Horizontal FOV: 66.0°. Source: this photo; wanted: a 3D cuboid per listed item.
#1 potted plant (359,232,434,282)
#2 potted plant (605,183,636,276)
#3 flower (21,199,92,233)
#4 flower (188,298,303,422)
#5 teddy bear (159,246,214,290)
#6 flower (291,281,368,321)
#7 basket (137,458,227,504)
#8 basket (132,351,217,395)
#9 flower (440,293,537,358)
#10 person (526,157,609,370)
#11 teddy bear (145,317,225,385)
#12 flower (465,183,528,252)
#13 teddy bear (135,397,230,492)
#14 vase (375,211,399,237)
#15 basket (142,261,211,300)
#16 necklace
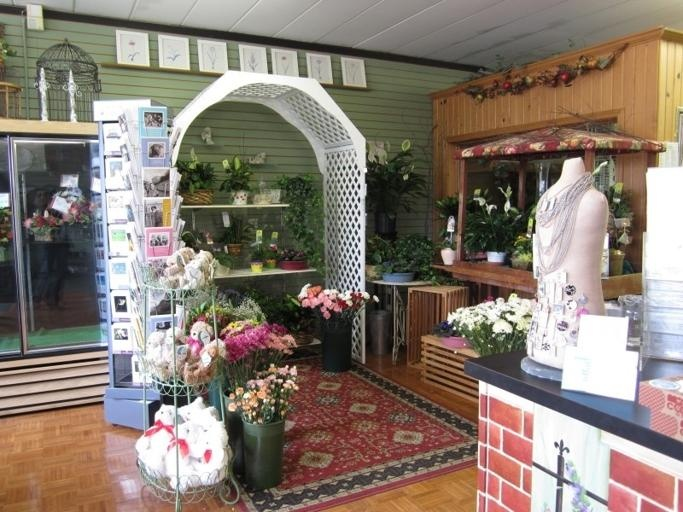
[{"bbox_3d":[0.733,-0.001,6.654,0.750,0.466,0.622,2,5,3],"label":"potted plant"},{"bbox_3d":[2.727,-0.255,5.147,0.319,0.888,0.698,5,11,31],"label":"potted plant"},{"bbox_3d":[-2.749,-0.357,5.123,0.475,0.191,0.334,-10,8,-23],"label":"flower"},{"bbox_3d":[-0.848,0.680,4.382,0.904,1.048,0.980,-3,5,-28],"label":"flower"},{"bbox_3d":[-1.070,0.094,3.700,0.259,0.214,0.350,2,6,-1],"label":"teddy bear"},{"bbox_3d":[-0.113,0.519,5.976,0.544,0.298,0.522,-1,6,-28],"label":"flower"},{"bbox_3d":[-1.123,1.592,3.723,0.545,0.153,0.420,0,4,13],"label":"basket"},{"bbox_3d":[-1.111,0.785,3.652,0.438,0.134,0.424,1,1,-28],"label":"basket"},{"bbox_3d":[1.365,0.633,4.689,0.417,0.531,0.705,-7,11,-32],"label":"flower"},{"bbox_3d":[0.955,0.041,2.197,0.293,0.867,0.247,3,11,20],"label":"person"},{"bbox_3d":[-1.092,0.649,3.711,0.444,0.302,0.579,5,1,35],"label":"teddy bear"},{"bbox_3d":[1.673,-0.381,5.800,0.810,0.757,0.788,1,4,-6],"label":"flower"},{"bbox_3d":[-1.083,1.329,3.649,0.582,0.247,0.702,-9,27,-27],"label":"teddy bear"},{"bbox_3d":[0.637,-0.402,7.096,0.313,0.409,0.323,-7,12,-38],"label":"vase"},{"bbox_3d":[-1.145,0.169,3.683,0.360,0.127,0.277,-2,6,-8],"label":"basket"},{"bbox_3d":[0.909,-0.145,2.252,0.155,0.393,0.315,19,0,-11],"label":"necklace"}]
